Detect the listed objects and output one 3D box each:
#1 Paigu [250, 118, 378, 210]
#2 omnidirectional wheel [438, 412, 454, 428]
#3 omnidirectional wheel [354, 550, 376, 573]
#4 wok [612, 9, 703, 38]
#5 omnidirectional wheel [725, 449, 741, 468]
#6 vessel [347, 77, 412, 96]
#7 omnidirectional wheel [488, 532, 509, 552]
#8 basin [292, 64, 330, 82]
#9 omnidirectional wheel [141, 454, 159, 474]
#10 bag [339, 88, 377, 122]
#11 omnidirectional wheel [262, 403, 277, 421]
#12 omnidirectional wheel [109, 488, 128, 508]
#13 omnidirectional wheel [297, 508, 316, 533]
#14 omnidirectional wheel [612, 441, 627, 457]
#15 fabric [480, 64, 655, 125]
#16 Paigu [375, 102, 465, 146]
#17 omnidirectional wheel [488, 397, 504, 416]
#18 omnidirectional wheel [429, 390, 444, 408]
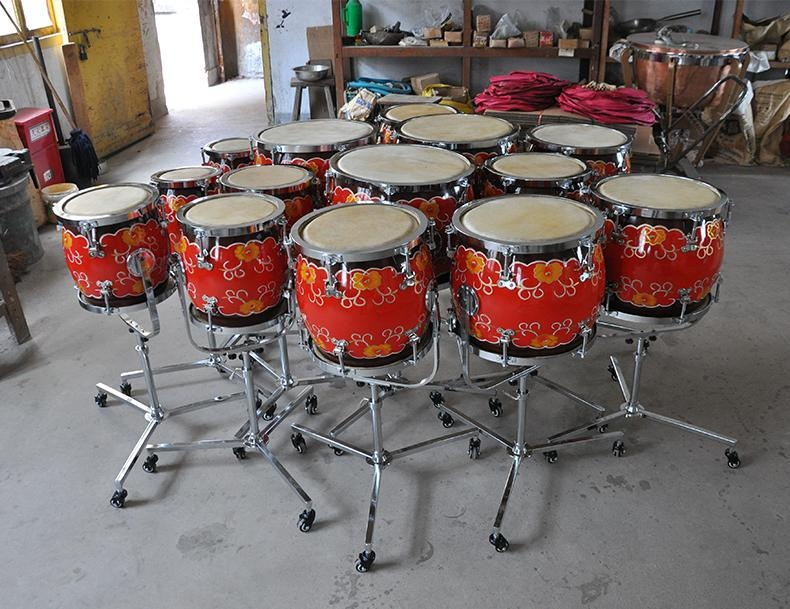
[{"bbox_3d":[-0.356,-0.736,3.074,0.496,0.331,0.467,-15,33,-23],"label":"Paigu"},{"bbox_3d":[0.239,0.541,3.106,0.059,0.022,0.072,-29,65,-13],"label":"omnidirectional wheel"},{"bbox_3d":[-0.116,0.969,2.488,0.094,0.080,0.053,-9,40,-20],"label":"omnidirectional wheel"},{"bbox_3d":[2.389,-2.540,5.959,0.766,0.107,0.421,-10,37,1],"label":"wok"},{"bbox_3d":[1.457,0.659,2.831,0.055,0.078,0.039,-6,-7,19],"label":"omnidirectional wheel"},{"bbox_3d":[-0.153,-1.964,5.959,0.452,0.151,0.331,10,38,13],"label":"vessel"},{"bbox_3d":[0.399,0.916,2.543,0.059,0.022,0.075,-29,50,-26],"label":"omnidirectional wheel"},{"bbox_3d":[-0.815,-2.239,6.436,0.313,0.121,0.402,1,28,4],"label":"basin"},{"bbox_3d":[-1.078,0.701,2.897,0.041,0.068,0.052,13,33,7],"label":"omnidirectional wheel"},{"bbox_3d":[-0.316,-1.685,5.589,0.329,0.238,0.335,-3,29,-3],"label":"bag"},{"bbox_3d":[-0.604,0.511,3.160,0.059,0.081,0.025,44,9,31],"label":"omnidirectional wheel"},{"bbox_3d":[-1.147,0.798,2.742,0.059,0.068,0.075,-2,18,-8],"label":"omnidirectional wheel"},{"bbox_3d":[-0.355,0.860,2.631,0.035,0.064,0.087,3,56,50],"label":"omnidirectional wheel"},{"bbox_3d":[0.991,0.639,2.917,0.054,0.066,0.037,-6,28,-5],"label":"omnidirectional wheel"},{"bbox_3d":[1.253,-1.493,4.814,0.914,0.222,0.619,-1,32,-3],"label":"fabric"},{"bbox_3d":[0.088,-0.958,3.364,0.367,0.137,0.360,-30,44,-33],"label":"Paigu"},{"bbox_3d":[0.487,0.496,3.193,0.044,0.057,0.080,-15,5,-15],"label":"omnidirectional wheel"},{"bbox_3d":[0.197,0.462,3.208,0.026,0.056,0.076,24,31,-58],"label":"omnidirectional wheel"}]
